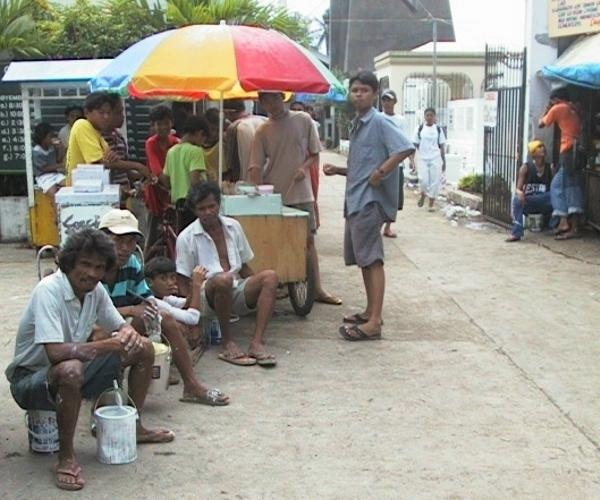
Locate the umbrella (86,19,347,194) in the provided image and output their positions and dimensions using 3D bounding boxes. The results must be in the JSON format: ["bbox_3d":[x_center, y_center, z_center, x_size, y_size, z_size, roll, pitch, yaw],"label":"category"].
[{"bbox_3d":[-0.734,-1.208,7.082,1.604,1.233,1.733,6,14,22],"label":"umbrella"}]

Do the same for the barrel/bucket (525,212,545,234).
[{"bbox_3d":[3.521,-0.428,11.432,0.211,0.299,0.292,2,9,8],"label":"barrel/bucket"}]

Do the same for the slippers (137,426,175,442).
[{"bbox_3d":[-0.961,1.221,5.027,0.258,0.131,0.095,-3,7,-11],"label":"slippers"}]

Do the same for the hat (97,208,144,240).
[{"bbox_3d":[-1.275,-0.189,5.305,0.252,0.150,0.187,2,-1,44],"label":"hat"}]

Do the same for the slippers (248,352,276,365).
[{"bbox_3d":[-0.313,0.892,6.218,0.227,0.094,0.149,-1,14,-4],"label":"slippers"}]

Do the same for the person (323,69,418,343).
[{"bbox_3d":[0.597,-0.428,6.900,0.715,2.367,0.635,-10,16,-38],"label":"person"}]

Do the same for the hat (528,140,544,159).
[{"bbox_3d":[3.423,-1.492,10.996,0.190,0.247,0.291,-5,-1,-4],"label":"hat"}]

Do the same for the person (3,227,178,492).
[{"bbox_3d":[-1.364,0.574,4.770,0.690,1.466,0.790,11,17,39],"label":"person"}]

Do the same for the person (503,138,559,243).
[{"bbox_3d":[3.333,-0.911,10.905,0.845,1.488,0.863,-1,2,-14],"label":"person"}]

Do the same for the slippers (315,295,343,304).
[{"bbox_3d":[0.300,0.498,7.947,0.259,0.083,0.102,3,6,28],"label":"slippers"}]

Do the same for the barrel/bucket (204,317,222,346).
[{"bbox_3d":[-0.757,0.717,6.769,0.206,0.314,0.223,-1,-1,0],"label":"barrel/bucket"}]

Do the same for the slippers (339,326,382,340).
[{"bbox_3d":[0.525,0.755,6.850,0.266,0.105,0.161,4,6,0],"label":"slippers"}]

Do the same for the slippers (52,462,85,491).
[{"bbox_3d":[-1.373,1.349,4.487,0.175,0.111,0.128,-2,14,-9],"label":"slippers"}]

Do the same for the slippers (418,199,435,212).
[{"bbox_3d":[2.411,-0.885,14.547,0.268,0.106,0.284,6,26,29],"label":"slippers"}]

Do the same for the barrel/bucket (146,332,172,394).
[{"bbox_3d":[-0.967,0.821,5.229,0.254,0.309,0.267,3,-2,0],"label":"barrel/bucket"}]

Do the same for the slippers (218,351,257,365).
[{"bbox_3d":[-0.519,0.891,6.234,0.221,0.072,0.118,0,1,41],"label":"slippers"}]

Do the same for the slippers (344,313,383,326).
[{"bbox_3d":[0.587,0.646,7.196,0.332,0.123,0.146,2,2,3],"label":"slippers"}]

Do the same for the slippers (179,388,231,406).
[{"bbox_3d":[-0.690,1.081,5.510,0.227,0.083,0.144,-1,6,12],"label":"slippers"}]

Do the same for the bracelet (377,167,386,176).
[{"bbox_3d":[0.713,-0.710,6.695,0.059,0.050,0.069,5,-1,25],"label":"bracelet"}]

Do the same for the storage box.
[{"bbox_3d":[-1.867,-0.131,6.714,0.572,0.494,0.574,1,49,-18],"label":"storage box"}]

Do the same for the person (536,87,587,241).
[{"bbox_3d":[3.741,-1.239,10.748,0.581,2.011,0.771,-1,13,-3],"label":"person"}]
